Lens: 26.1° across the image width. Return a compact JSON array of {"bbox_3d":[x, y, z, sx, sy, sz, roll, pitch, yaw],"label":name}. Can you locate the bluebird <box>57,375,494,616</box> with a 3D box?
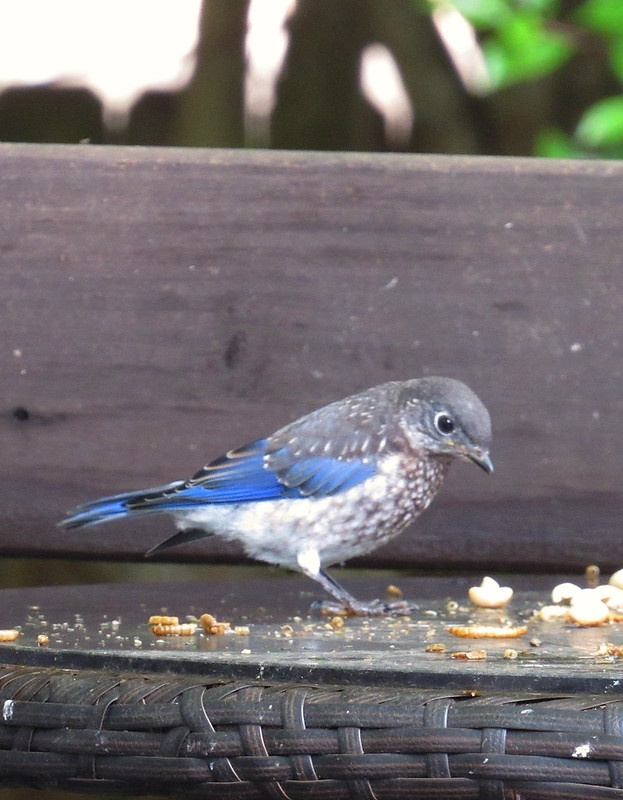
[{"bbox_3d":[-0.053,0.136,2.038,0.697,0.284,0.186,0,0,15],"label":"bluebird"}]
